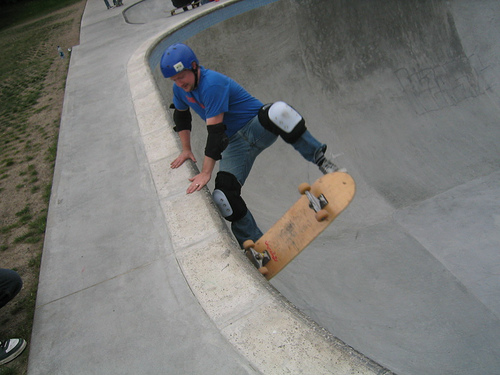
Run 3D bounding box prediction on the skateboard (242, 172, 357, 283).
[{"bbox_3d":[0.687,0.591,5.711,1.797,0.248,0.434,-48,51,14],"label":"skateboard"}]
